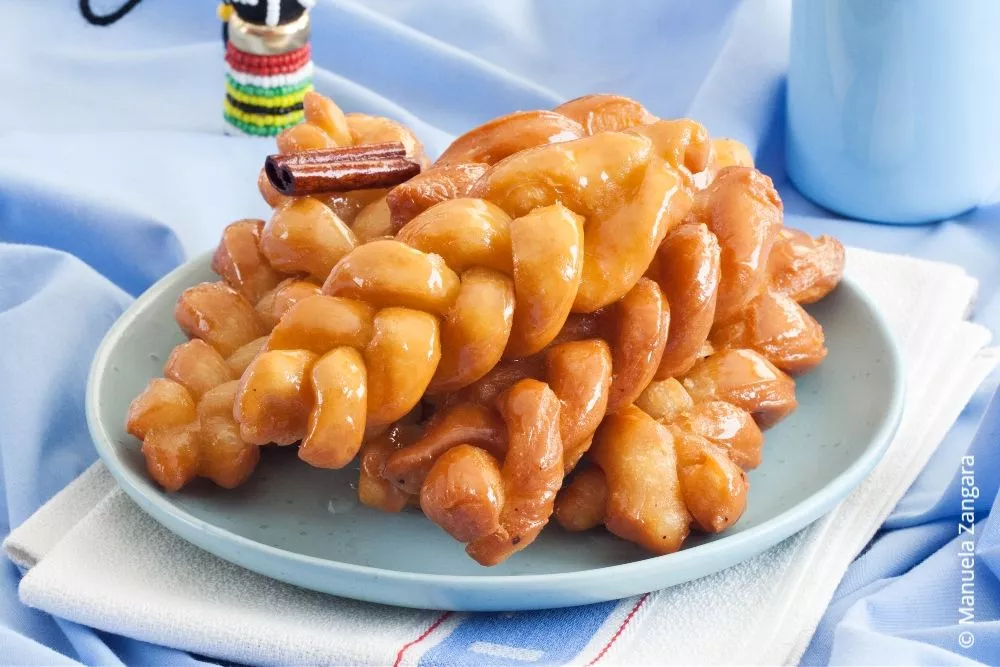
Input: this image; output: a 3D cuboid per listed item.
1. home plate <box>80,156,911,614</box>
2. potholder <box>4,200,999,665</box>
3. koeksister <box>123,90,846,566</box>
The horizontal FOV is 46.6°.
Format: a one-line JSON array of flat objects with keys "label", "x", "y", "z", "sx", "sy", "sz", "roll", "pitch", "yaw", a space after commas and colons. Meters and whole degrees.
[{"label": "home plate", "x": -0.003, "y": -0.029, "z": 1.599, "sx": 0.745, "sy": 0.458, "sz": 0.475, "roll": -6, "pitch": 24, "yaw": -4}, {"label": "potholder", "x": 0.020, "y": 0.176, "z": 1.599, "sx": 1.465, "sy": 0.228, "sz": 0.704, "roll": -3, "pitch": 55, "yaw": -7}, {"label": "koeksister", "x": -0.265, "y": 0.020, "z": 1.524, "sx": 0.171, "sy": 0.463, "sz": 0.510, "roll": 16, "pitch": 20, "yaw": -37}]
